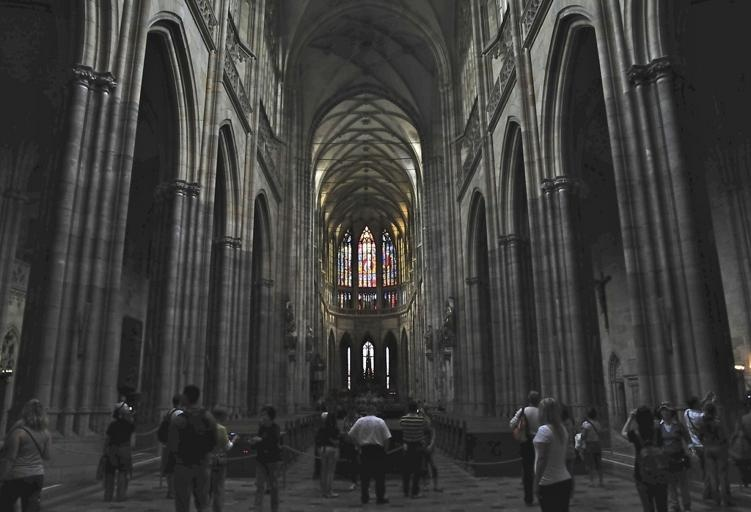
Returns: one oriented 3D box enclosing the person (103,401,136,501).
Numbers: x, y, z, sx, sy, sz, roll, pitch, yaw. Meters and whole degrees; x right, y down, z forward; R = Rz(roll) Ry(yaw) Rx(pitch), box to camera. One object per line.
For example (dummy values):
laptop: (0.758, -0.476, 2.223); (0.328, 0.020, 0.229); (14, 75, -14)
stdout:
person: (-4.469, 3.417, 10.040); (0.469, 1.648, 0.712); (5, -16, -22)

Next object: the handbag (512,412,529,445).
handbag: (2.537, 2.965, 9.932); (0.237, 0.586, 0.738); (-4, -16, 13)

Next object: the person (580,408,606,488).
person: (4.308, 3.777, 11.385); (0.340, 1.433, 1.173); (-7, -16, 20)

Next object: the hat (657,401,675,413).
hat: (4.915, 2.563, 9.710); (0.329, 0.144, 0.388); (-1, -18, 8)

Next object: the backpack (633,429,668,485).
backpack: (3.759, 2.839, 7.864); (0.403, 0.559, 0.228); (-11, -18, 32)
